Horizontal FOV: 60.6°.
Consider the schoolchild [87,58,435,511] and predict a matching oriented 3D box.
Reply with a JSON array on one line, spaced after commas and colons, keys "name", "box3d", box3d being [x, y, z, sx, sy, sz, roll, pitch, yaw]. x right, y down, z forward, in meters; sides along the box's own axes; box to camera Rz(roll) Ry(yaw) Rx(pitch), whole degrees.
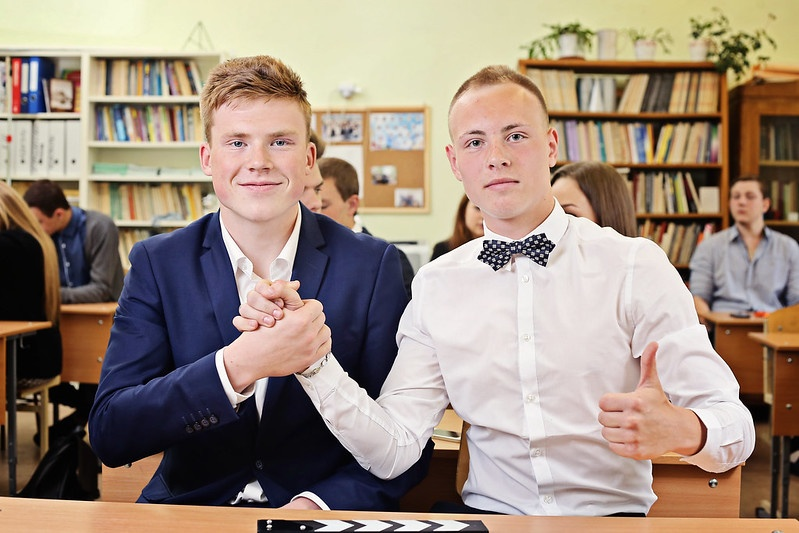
[{"name": "schoolchild", "box3d": [-0.522, 0.113, 2.543, 1.230, 1.621, 1.079, 1, 6, -6]}]

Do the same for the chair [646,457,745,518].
[{"name": "chair", "box3d": [1.180, 0.863, 2.758, 0.322, 0.281, 0.212, -4, 18, 14]}]

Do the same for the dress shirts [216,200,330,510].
[{"name": "dress shirts", "box3d": [-0.463, 0.334, 2.483, 0.589, 0.854, 0.270, -3, 1, -7]}]

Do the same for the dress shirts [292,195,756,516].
[{"name": "dress shirts", "box3d": [0.425, 0.389, 2.469, 1.569, 1.043, 0.876, -7, -8, 31]}]
